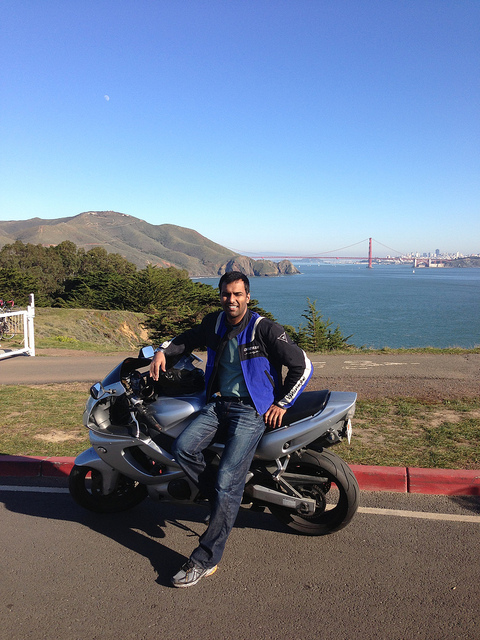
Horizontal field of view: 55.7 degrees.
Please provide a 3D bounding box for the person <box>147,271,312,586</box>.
[{"bbox_3d":[-0.073,0.616,3.164,0.999,1.913,0.828,-2,4,-21],"label":"person"}]

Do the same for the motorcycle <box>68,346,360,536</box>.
[{"bbox_3d":[-0.291,0.945,3.447,2.238,1.247,0.763,-1,9,17],"label":"motorcycle"}]
